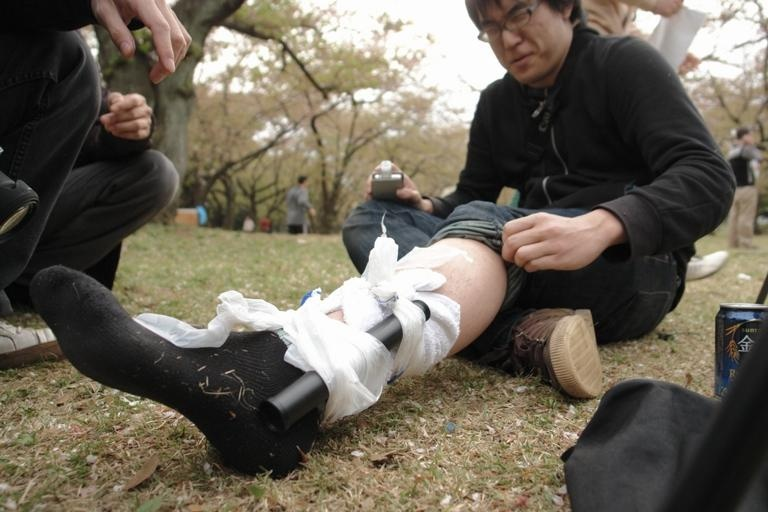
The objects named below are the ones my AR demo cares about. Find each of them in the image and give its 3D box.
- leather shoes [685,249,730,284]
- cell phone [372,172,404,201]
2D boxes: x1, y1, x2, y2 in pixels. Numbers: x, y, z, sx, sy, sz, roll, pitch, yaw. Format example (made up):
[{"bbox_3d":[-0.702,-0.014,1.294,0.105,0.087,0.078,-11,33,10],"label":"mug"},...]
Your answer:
[{"bbox_3d":[1.894,0.060,3.607,0.219,0.102,0.285,-15,1,42],"label":"leather shoes"},{"bbox_3d":[0.014,-0.322,2.994,0.128,0.127,0.029,-1,41,-2],"label":"cell phone"}]
